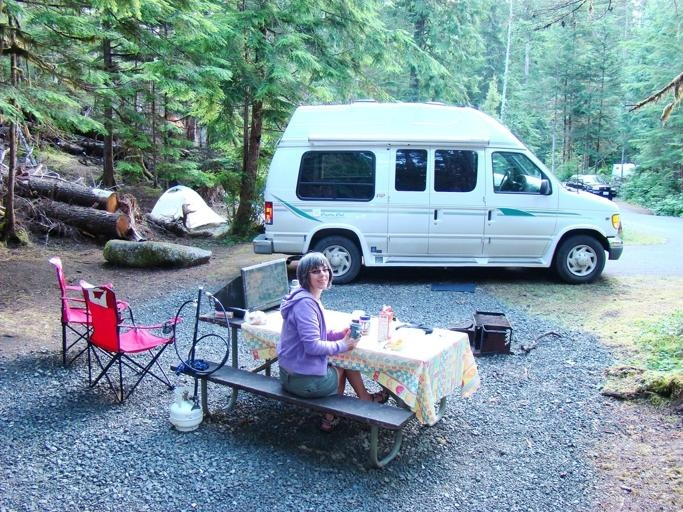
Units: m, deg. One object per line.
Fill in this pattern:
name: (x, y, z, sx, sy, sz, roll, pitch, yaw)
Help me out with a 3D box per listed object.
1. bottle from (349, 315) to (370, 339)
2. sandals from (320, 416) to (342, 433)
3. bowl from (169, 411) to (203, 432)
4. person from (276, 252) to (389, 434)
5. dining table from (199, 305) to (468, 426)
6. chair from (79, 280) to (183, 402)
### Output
bottle: (0.172, 0.694, 5.734, 0.151, 0.200, 0.227, 0, 3, -34)
sandals: (-0.132, 1.735, 6.026, 0.101, 0.073, 0.260, 0, -4, 10)
bowl: (-1.592, 1.676, 6.024, 0.239, 0.147, 0.238, 0, 3, 0)
person: (-0.200, 0.705, 5.667, 0.813, 1.455, 0.441, 3, 11, -6)
dining table: (0.135, 0.920, 6.006, 2.051, 0.474, 1.193, 6, 12, 26)
chair: (-2.641, 1.109, 7.284, 1.141, 1.328, 0.929, 9, 12, 44)
